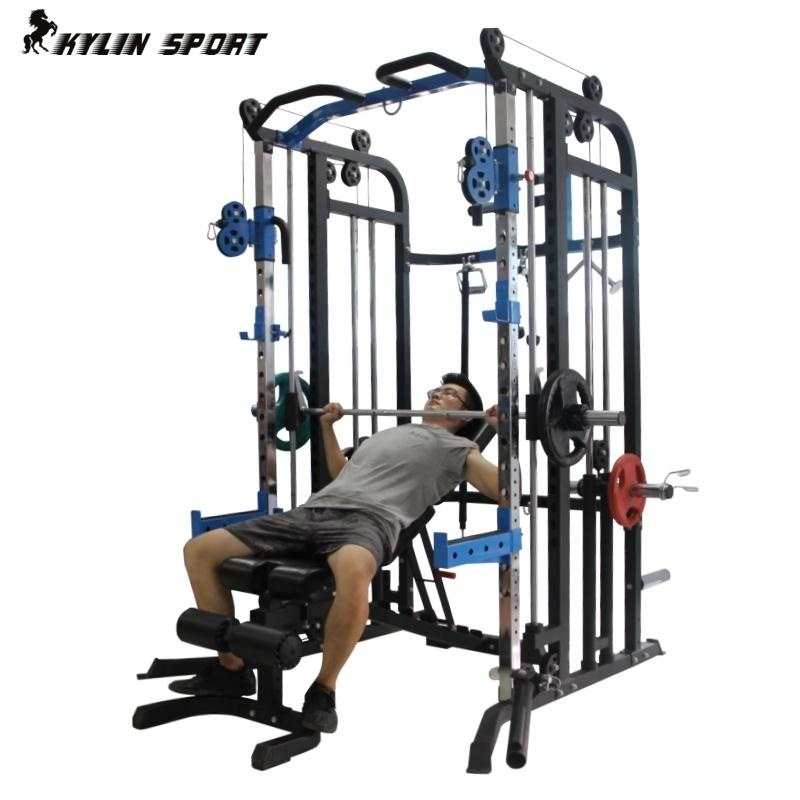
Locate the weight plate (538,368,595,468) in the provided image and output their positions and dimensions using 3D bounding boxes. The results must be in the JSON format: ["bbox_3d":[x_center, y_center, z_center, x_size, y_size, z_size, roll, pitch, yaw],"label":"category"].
[{"bbox_3d":[0.609,0.062,3.757,0.146,0.392,0.352,2,2,37],"label":"weight plate"}]

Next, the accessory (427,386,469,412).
[{"bbox_3d":[0.195,-0.023,4.517,0.117,0.067,0.167,0,5,17],"label":"accessory"}]

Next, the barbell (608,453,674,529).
[{"bbox_3d":[0.950,0.376,4.225,0.252,0.287,0.337,-13,7,-42],"label":"barbell"}]

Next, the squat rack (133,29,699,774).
[{"bbox_3d":[-0.098,-0.041,4.665,2.123,3.247,2.498,0,-1,38],"label":"squat rack"}]

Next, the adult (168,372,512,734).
[{"bbox_3d":[-0.131,0.590,4.353,1.047,1.506,1.736,-2,-5,41],"label":"adult"}]

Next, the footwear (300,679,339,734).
[{"bbox_3d":[-0.282,1.107,3.586,0.121,0.166,0.146,12,-45,-11],"label":"footwear"}]

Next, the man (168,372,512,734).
[{"bbox_3d":[-0.117,0.576,4.347,0.957,1.456,1.753,-1,-4,36],"label":"man"}]
